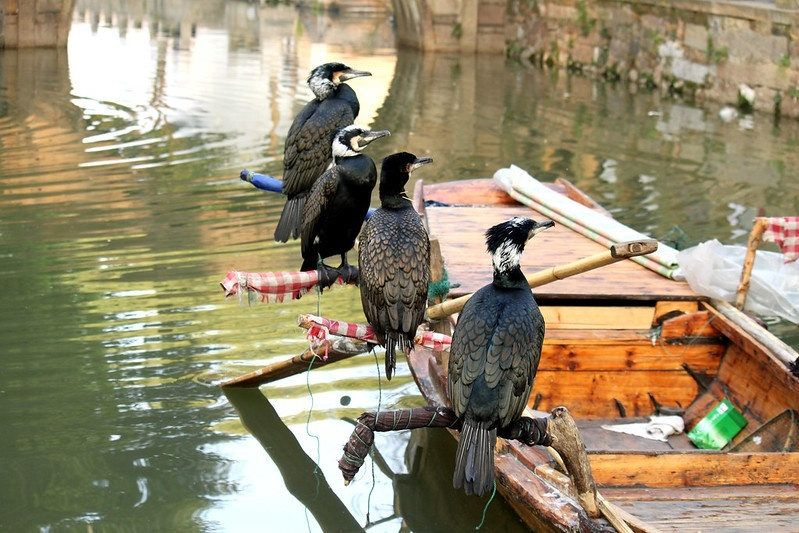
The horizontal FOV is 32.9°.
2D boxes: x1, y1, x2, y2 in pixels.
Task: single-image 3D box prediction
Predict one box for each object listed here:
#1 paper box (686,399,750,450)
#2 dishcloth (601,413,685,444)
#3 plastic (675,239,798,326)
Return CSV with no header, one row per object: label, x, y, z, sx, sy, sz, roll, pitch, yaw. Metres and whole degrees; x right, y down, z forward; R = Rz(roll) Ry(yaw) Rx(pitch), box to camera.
paper box,3.680,1.776,15.013,0.629,0.665,0.446,-6,-32,37
dishcloth,2.733,1.774,14.960,0.589,0.129,0.391,2,15,-15
plastic,3.847,0.228,15.642,1.435,0.400,0.880,15,47,9
